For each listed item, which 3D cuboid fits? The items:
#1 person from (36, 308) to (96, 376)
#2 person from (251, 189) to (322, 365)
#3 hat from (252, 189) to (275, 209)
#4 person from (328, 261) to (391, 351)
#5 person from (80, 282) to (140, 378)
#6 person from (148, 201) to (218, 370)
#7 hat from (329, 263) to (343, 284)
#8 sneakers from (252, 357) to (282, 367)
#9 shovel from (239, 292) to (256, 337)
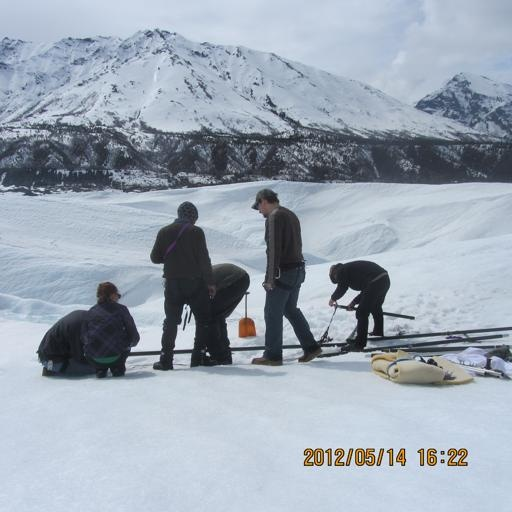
[{"bbox_3d":[-1.896,0.899,7.498,0.810,0.627,0.505,7,-13,-3],"label":"person"},{"bbox_3d":[0.272,0.224,7.837,0.671,1.787,0.481,-3,10,-24],"label":"person"},{"bbox_3d":[0.048,-0.588,7.874,0.276,0.130,0.183,-7,6,24],"label":"hat"},{"bbox_3d":[1.158,0.526,8.613,0.650,0.936,0.838,2,8,7],"label":"person"},{"bbox_3d":[-1.427,0.734,7.458,0.550,0.921,0.410,-3,10,-24],"label":"person"},{"bbox_3d":[-0.740,0.324,7.682,0.628,1.695,0.559,0,9,-7],"label":"person"},{"bbox_3d":[0.873,0.204,8.668,0.090,0.205,0.170,35,25,28],"label":"hat"},{"bbox_3d":[0.098,1.089,7.817,0.311,0.098,0.103,3,-9,13],"label":"sneakers"},{"bbox_3d":[-0.130,0.781,10.002,0.275,0.580,0.024,-9,-16,30],"label":"shovel"}]
